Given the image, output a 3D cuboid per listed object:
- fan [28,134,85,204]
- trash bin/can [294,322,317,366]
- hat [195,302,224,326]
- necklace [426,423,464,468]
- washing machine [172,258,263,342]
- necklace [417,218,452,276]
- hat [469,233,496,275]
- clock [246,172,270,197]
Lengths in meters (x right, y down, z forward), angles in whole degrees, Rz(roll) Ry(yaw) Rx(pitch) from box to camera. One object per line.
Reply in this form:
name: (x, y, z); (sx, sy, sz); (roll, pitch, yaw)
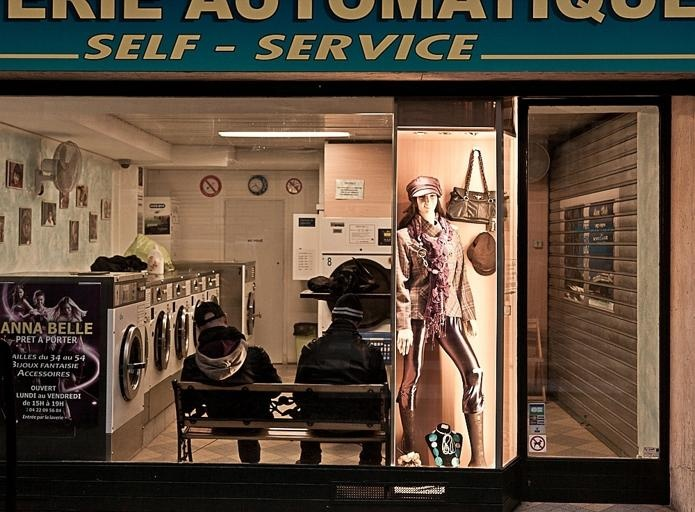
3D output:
fan: (-2.585, -0.744, 6.222); (0.309, 0.528, 0.361); (4, 7, -16)
trash bin/can: (-0.357, 0.821, 6.941); (0.213, 0.404, 0.272); (1, 1, 2)
hat: (-1.133, 0.467, 5.728); (0.217, 0.182, 0.327); (-3, -2, 2)
necklace: (0.733, 1.400, 5.209); (0.259, 0.343, 0.160); (-1, -2, -7)
washing machine: (-1.209, 0.409, 6.952); (0.695, 1.213, 0.602); (0, 0, 5)
necklace: (0.649, -0.077, 5.318); (0.220, 0.410, 0.135); (-2, 6, 1)
hat: (1.007, -0.020, 5.215); (0.191, 0.295, 0.082); (1, 6, 9)
clock: (-0.857, -0.667, 6.728); (0.207, 0.196, 0.098); (0, 1, -17)
